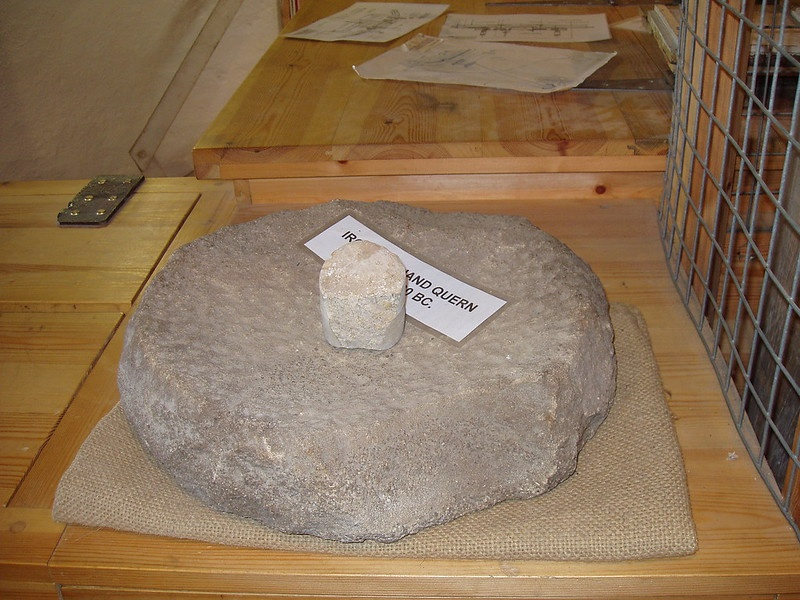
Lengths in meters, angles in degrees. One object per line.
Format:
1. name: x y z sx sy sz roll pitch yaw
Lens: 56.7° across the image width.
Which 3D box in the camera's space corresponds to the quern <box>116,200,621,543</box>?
1. quern: -0.031 0.057 0.986 0.619 0.145 0.520 4 55 7
